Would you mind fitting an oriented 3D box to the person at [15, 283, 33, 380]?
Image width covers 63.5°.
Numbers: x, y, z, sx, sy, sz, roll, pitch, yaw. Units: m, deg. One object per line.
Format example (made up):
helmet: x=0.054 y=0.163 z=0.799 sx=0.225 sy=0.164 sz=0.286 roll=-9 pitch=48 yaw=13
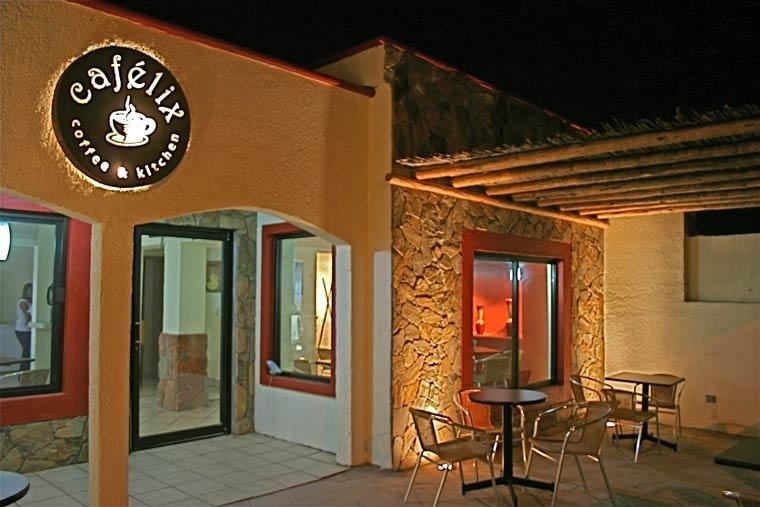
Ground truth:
person: x=-4.804 y=0.909 z=8.308 sx=0.228 sy=0.999 sz=0.142 roll=-3 pitch=5 yaw=-37
